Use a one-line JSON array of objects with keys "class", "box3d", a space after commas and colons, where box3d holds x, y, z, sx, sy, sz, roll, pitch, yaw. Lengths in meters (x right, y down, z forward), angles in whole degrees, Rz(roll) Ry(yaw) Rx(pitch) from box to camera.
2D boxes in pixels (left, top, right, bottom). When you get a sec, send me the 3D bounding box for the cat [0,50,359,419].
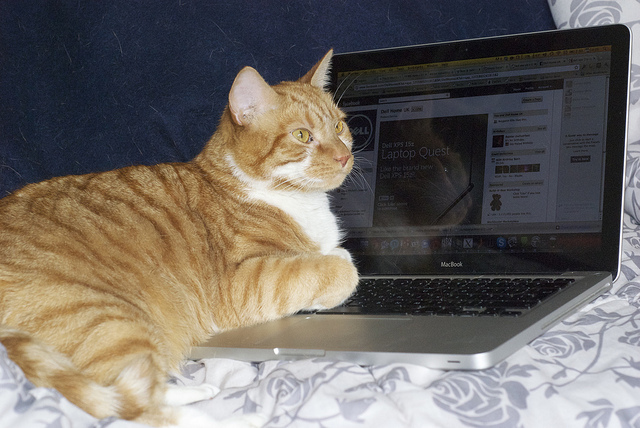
[{"class": "cat", "box3d": [-0.318, 0.023, 1.759, 0.966, 0.687, 0.682, -13, 4, -25]}]
